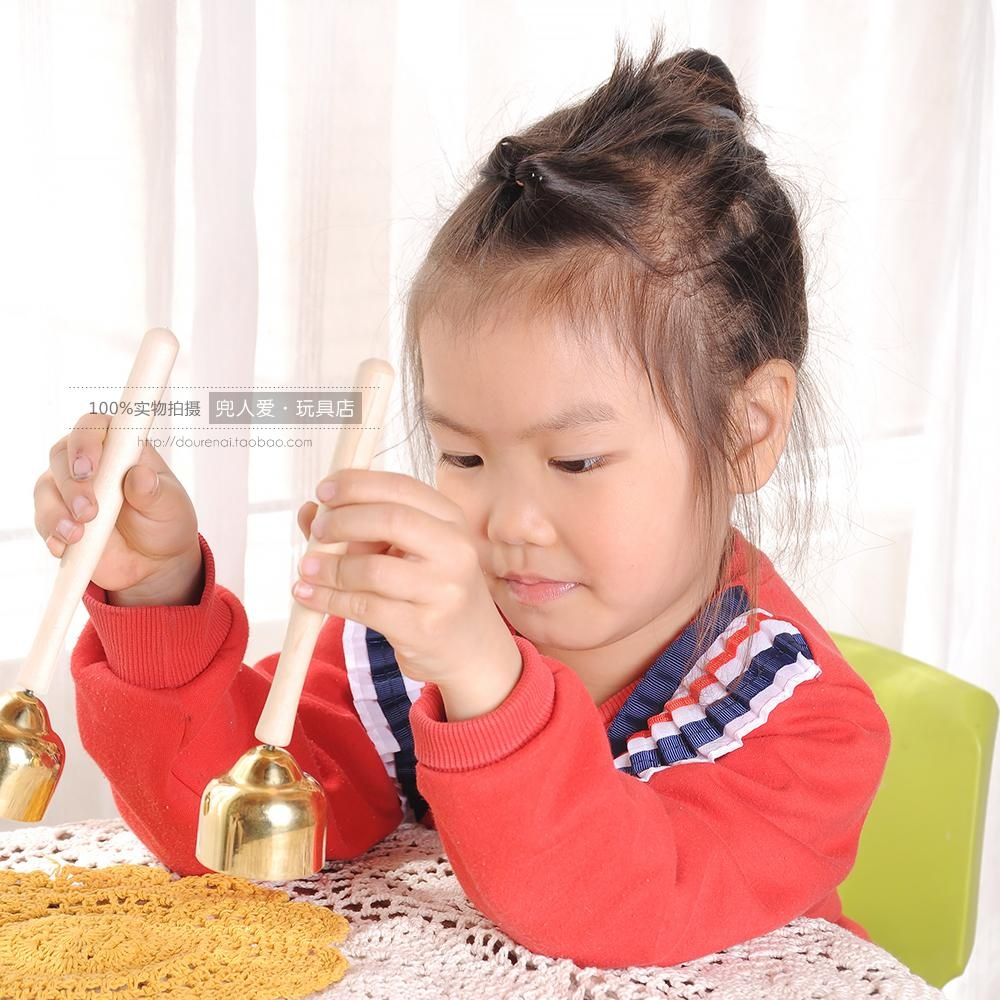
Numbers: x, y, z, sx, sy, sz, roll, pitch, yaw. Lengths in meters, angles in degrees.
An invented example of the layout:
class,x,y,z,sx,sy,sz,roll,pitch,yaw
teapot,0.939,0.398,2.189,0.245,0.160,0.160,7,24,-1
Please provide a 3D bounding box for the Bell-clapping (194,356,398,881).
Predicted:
class,x,y,z,sx,sy,sz,roll,pitch,yaw
Bell-clapping,-0.085,0.054,0.391,0.056,0.222,0.087,6,-4,-17
